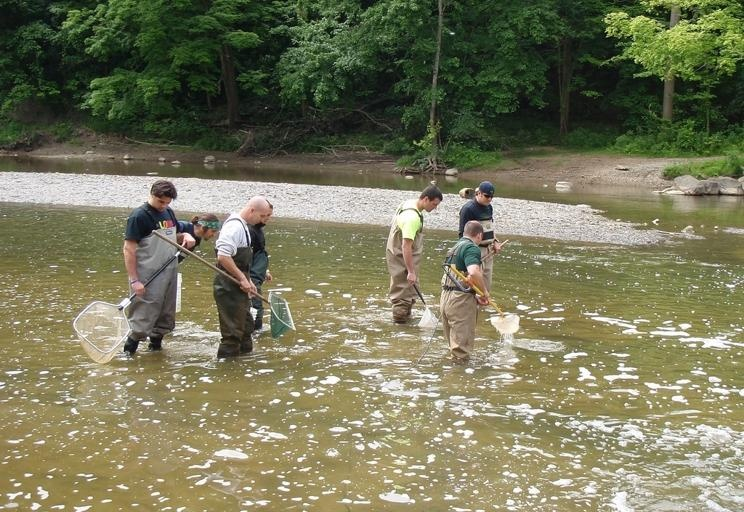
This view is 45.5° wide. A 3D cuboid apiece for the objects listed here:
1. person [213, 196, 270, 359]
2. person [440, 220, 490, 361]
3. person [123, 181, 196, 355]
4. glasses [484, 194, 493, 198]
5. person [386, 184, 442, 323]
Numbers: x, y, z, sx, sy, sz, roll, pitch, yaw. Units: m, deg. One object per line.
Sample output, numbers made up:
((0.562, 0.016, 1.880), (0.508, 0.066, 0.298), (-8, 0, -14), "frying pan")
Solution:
((-2.451, 0.385, 16.421), (0.862, 2.935, 0.684), (0, 11, -2), "person")
((1.704, 0.634, 16.520), (0.861, 2.588, 0.514), (8, 13, 36), "person")
((-4.056, 0.198, 16.406), (1.045, 3.221, 0.433), (-8, 13, -37), "person")
((2.287, -1.184, 17.310), (0.092, 0.039, 0.079), (3, 29, -7), "glasses")
((0.799, -0.063, 18.054), (0.974, 2.806, 1.021), (1, 10, 0), "person")
